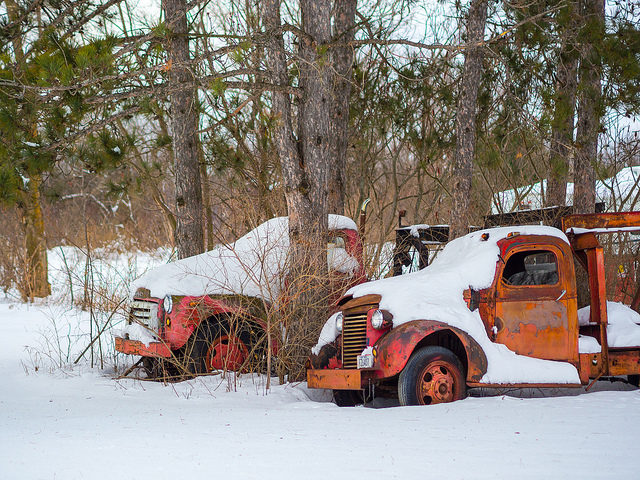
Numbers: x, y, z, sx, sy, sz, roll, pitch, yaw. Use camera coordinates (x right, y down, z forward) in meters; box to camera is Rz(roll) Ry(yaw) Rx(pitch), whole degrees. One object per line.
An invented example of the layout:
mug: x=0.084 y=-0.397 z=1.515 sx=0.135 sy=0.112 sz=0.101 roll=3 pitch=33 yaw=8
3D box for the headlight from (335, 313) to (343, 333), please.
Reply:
headlight: x=0.296 y=1.306 z=13.498 sx=0.088 sy=0.254 sz=0.152 roll=5 pitch=3 yaw=-19

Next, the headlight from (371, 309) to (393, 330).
headlight: x=0.938 y=1.169 z=12.745 sx=0.229 sy=0.321 sz=0.257 roll=3 pitch=2 yaw=-15
